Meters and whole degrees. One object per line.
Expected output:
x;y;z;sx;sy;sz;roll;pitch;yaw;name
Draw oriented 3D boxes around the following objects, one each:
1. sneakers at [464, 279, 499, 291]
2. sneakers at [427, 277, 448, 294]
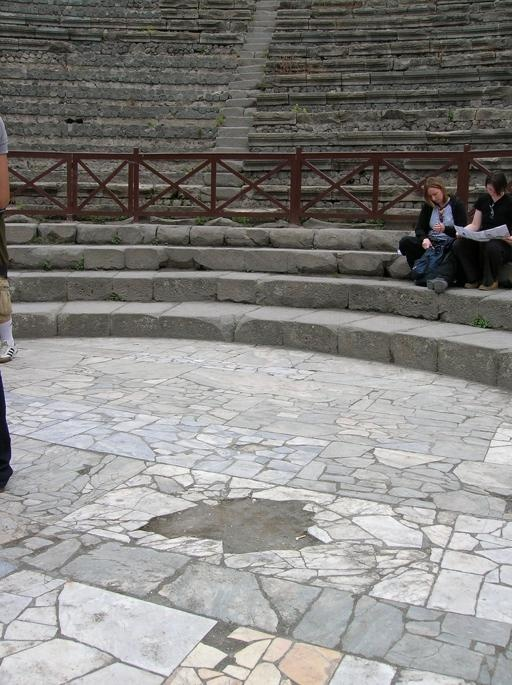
2.223;-0.570;5.922;0.352;0.129;0.107;8;11;19;sneakers
1.766;-0.561;5.909;0.086;0.108;0.208;-18;16;-32;sneakers
